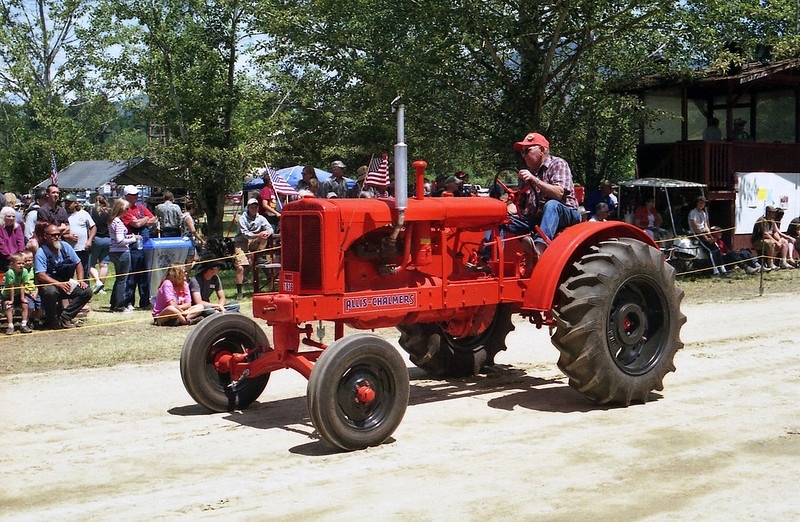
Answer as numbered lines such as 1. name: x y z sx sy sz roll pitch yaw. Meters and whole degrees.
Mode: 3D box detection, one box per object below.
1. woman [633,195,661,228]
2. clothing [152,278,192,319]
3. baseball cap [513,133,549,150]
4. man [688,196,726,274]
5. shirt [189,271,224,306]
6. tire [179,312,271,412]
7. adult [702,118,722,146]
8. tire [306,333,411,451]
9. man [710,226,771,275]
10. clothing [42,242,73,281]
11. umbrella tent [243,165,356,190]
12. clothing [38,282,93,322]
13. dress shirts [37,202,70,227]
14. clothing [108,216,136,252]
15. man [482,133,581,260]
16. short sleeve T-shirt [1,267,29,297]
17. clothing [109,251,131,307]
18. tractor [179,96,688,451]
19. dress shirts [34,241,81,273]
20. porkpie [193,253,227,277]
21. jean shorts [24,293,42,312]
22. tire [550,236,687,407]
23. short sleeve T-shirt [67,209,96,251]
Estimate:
1. woman: 5.774 -1.107 22.009 0.766 0.764 0.537 -7 12 -27
2. clothing: -3.923 0.589 16.022 0.509 0.519 0.521 7 5 16
3. baseball cap: 1.754 -1.582 12.447 0.461 0.211 0.271 5 1 -6
4. man: 7.143 -0.590 22.056 0.754 1.260 1.039 -4 1 16
5. shirt: -3.442 0.480 16.382 0.593 0.602 0.679 3 2 40
6. tire: -2.146 1.306 11.679 1.035 1.005 0.345 -34 14 -38
7. adult: 8.168 -3.432 24.775 0.444 0.770 1.689 -4 1 19
8. tire: -0.487 1.546 10.735 1.031 1.055 0.374 -39 21 -29
9. man: 8.114 -0.249 22.729 0.678 0.845 1.561 -11 21 -40
10. clothing: -5.796 0.089 16.174 0.483 0.540 0.358 -2 -15 -14
11. umbrella tent: -2.608 -2.058 23.448 2.341 0.488 2.022 -2 6 -23
12. clothing: -5.665 0.724 15.874 0.618 0.389 0.756 29 -7 -39
13. dress shirts: -6.351 -0.829 17.247 0.323 0.416 0.591 -7 -6 43
14. clothing: -5.352 -0.482 18.057 0.640 0.765 0.770 -7 12 -16
15. man: 1.788 -0.822 12.359 1.442 1.694 1.292 -1 -4 -24
16. short sleeve T-shirt: -6.403 0.366 15.723 0.455 0.482 0.300 -3 2 18
17. clothing: -5.187 0.388 17.518 0.443 1.056 0.832 -5 2 -16
18. tractor: 0.803 0.187 12.885 6.548 3.727 3.846 0 0 -35
19. dress shirts: -5.857 -0.017 16.127 0.324 0.525 0.841 9 18 43
20. porkpie: -3.262 0.049 16.227 0.594 0.215 0.617 -2 3 0
21. jean shorts: -6.123 0.698 15.785 0.231 0.253 0.180 -4 1 -22
22. tire: 2.702 0.791 11.874 2.456 2.115 0.715 -1 3 -36
23. short sleeve T-shirt: -6.012 -0.560 17.872 0.230 0.772 0.551 -4 1 28
